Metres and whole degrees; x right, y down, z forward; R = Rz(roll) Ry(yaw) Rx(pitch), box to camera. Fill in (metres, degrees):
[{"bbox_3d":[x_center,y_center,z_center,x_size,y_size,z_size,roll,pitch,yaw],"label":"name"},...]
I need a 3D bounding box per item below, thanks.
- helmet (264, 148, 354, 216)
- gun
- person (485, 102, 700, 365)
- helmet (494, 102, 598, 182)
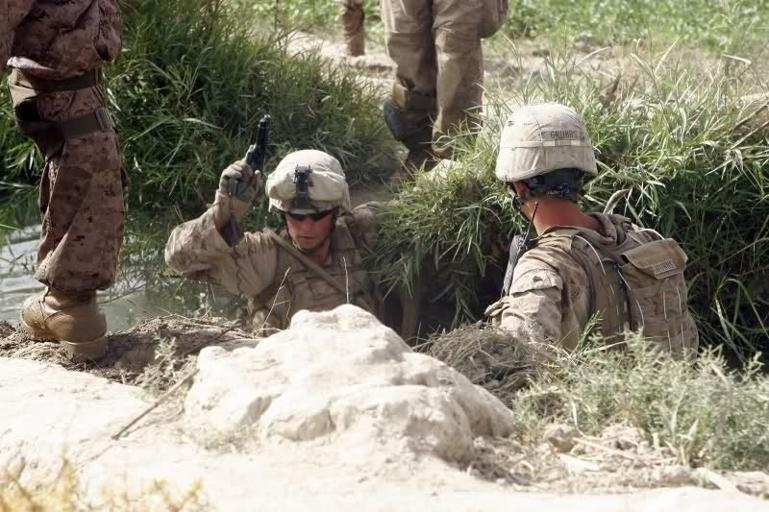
[{"bbox_3d":[-0.586,-0.543,8.244,0.417,0.350,0.562,0,15,6],"label":"helmet"},{"bbox_3d":[-1.038,-0.738,8.385,0.099,0.684,0.352,17,9,3],"label":"gun"},{"bbox_3d":[1.441,-0.139,7.454,1.035,1.650,0.657,-23,34,-14],"label":"person"},{"bbox_3d":[1.076,-0.721,7.444,0.511,0.410,0.544,-7,4,-13],"label":"helmet"}]
